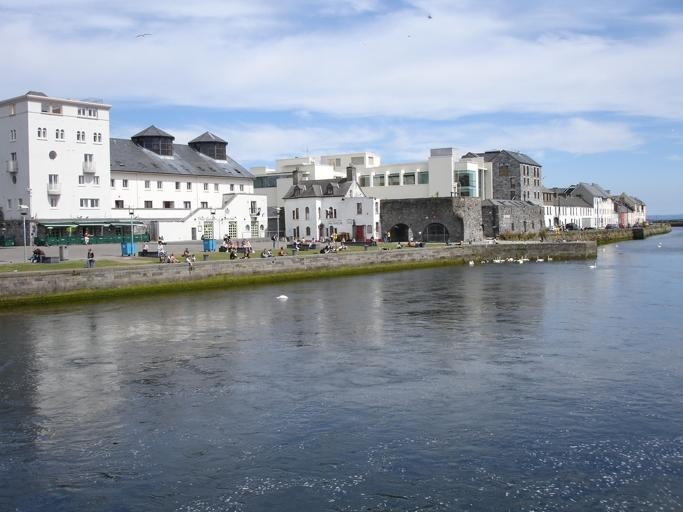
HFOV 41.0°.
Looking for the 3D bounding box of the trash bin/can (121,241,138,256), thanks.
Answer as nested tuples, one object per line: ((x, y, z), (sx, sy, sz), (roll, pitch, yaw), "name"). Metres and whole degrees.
((-18.703, -0.624, 80.713), (1.698, 1.005, 1.716), (0, -2, -34), "trash bin/can")

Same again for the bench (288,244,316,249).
((-3.610, -0.977, 93.916), (2.057, 0.577, 3.546), (-2, 1, -1), "bench")

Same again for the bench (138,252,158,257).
((-16.818, -0.160, 79.218), (0.846, 0.337, 3.373), (-3, 2, -33), "bench")

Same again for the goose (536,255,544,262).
((22.630, 0.280, 104.005), (0.855, 0.510, 3.323), (-2, 1, 11), "goose")

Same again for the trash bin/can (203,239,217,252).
((-13.052, -1.070, 89.935), (1.890, 1.294, 0.943), (0, -3, 9), "trash bin/can")

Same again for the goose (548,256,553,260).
((24.085, 0.283, 105.252), (0.762, 0.553, 0.474), (2, 14, 7), "goose")
